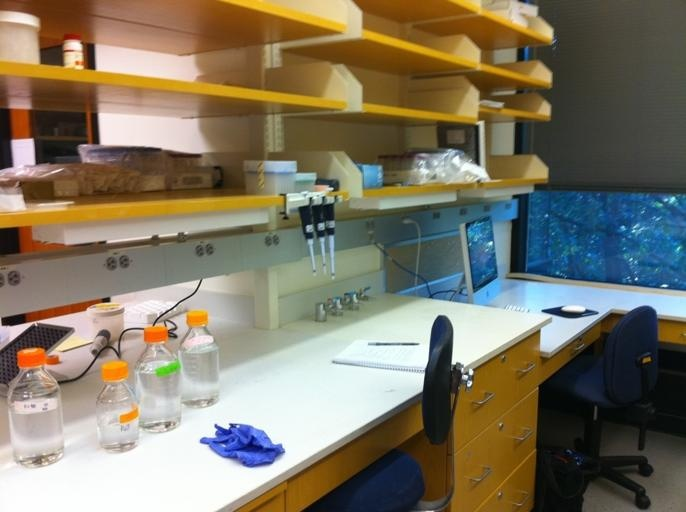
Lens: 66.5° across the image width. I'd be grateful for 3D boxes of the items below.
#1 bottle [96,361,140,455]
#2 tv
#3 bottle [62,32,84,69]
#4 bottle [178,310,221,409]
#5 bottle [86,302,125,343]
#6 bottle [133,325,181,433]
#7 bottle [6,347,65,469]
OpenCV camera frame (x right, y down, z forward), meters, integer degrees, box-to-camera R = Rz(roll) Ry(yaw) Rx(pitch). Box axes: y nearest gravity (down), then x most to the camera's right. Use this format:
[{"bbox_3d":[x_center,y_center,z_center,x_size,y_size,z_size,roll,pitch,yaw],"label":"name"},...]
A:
[{"bbox_3d":[-0.595,0.387,1.377,0.107,0.236,0.107,0,14,0],"label":"bottle"},{"bbox_3d":[0.770,0.029,2.972,0.097,0.418,0.574,-14,0,24],"label":"tv"},{"bbox_3d":[-0.689,-0.522,1.339,0.046,0.084,0.099,-7,16,-27],"label":"bottle"},{"bbox_3d":[-0.440,0.331,1.599,0.112,0.248,0.088,-5,15,-19],"label":"bottle"},{"bbox_3d":[-0.924,0.256,2.058,0.147,0.123,0.142,0,4,-9],"label":"bottle"},{"bbox_3d":[-0.522,0.365,1.485,0.119,0.230,0.129,0,14,0],"label":"bottle"},{"bbox_3d":[-0.767,0.398,1.308,0.114,0.240,0.093,-9,17,-31],"label":"bottle"}]
